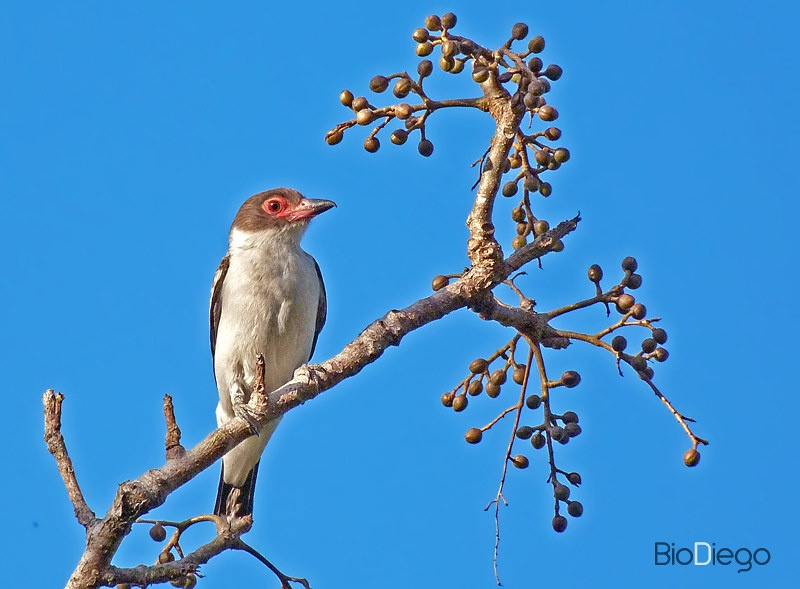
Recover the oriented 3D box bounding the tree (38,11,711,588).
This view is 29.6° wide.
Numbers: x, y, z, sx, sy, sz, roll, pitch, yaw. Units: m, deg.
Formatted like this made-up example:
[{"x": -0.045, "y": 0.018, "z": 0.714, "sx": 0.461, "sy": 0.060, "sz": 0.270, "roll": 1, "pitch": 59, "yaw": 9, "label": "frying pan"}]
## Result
[{"x": -0.353, "y": 0.037, "z": 10.709, "sx": 4.378, "sy": 3.899, "sz": 3.876, "roll": 0, "pitch": -1, "yaw": 28, "label": "tree"}]
